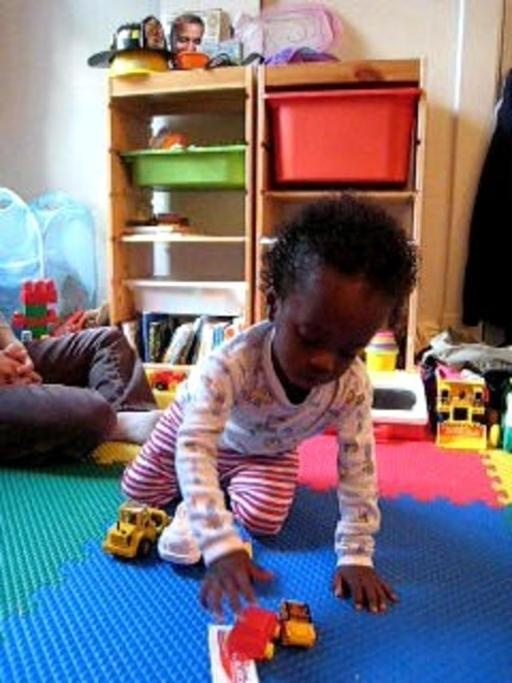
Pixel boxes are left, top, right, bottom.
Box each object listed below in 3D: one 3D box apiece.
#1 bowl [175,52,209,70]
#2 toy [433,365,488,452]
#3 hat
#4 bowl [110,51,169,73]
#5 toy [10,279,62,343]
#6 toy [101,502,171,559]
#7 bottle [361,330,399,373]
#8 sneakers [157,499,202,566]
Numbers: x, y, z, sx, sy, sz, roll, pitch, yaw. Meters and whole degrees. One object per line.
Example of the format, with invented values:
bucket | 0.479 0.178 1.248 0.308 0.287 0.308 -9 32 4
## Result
bowl | -0.211 -0.887 1.919 0.078 0.050 0.091 -12 33 -24
toy | 0.511 0.166 1.504 0.134 0.155 0.191 4 10 18
hat | -0.370 -0.896 1.874 0.173 0.119 0.198 -1 12 -1
bowl | -0.364 -0.863 1.895 0.175 0.074 0.074 -1 9 -14
toy | -0.718 -0.095 1.965 0.133 0.269 0.134 -4 22 -34
toy | -0.183 0.282 0.950 0.059 0.068 0.121 3 10 17
bottle | 0.322 0.030 1.571 0.089 0.128 0.098 0 6 0
sneakers | -0.113 0.276 0.921 0.057 0.058 0.117 -1 20 -13
